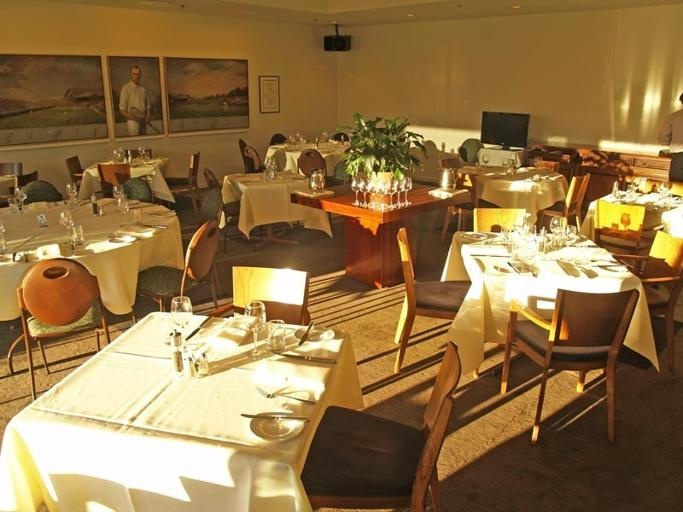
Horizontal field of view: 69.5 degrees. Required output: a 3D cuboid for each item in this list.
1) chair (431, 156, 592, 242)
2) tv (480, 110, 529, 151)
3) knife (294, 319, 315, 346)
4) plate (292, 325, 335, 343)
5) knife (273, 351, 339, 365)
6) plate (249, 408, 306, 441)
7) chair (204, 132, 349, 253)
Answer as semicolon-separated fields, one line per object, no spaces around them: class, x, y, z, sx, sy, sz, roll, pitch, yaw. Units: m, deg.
chair;2.531;-0.969;6.961;1.354;0.784;1.372;7;29;20
tv;3.177;-2.431;9.480;0.205;0.552;0.756;-16;25;-38
knife;-0.226;0.453;2.902;0.062;0.025;0.177;-2;16;9
plate;-0.144;0.453;2.846;0.116;0.020;0.113;-17;28;-42
knife;-0.199;0.547;2.636;0.263;0.021;0.038;5;31;10
plate;-0.283;0.753;2.185;0.145;0.026;0.121;4;19;1
chair;-1.336;-0.998;7.711;1.430;0.775;2.513;-9;22;-20
